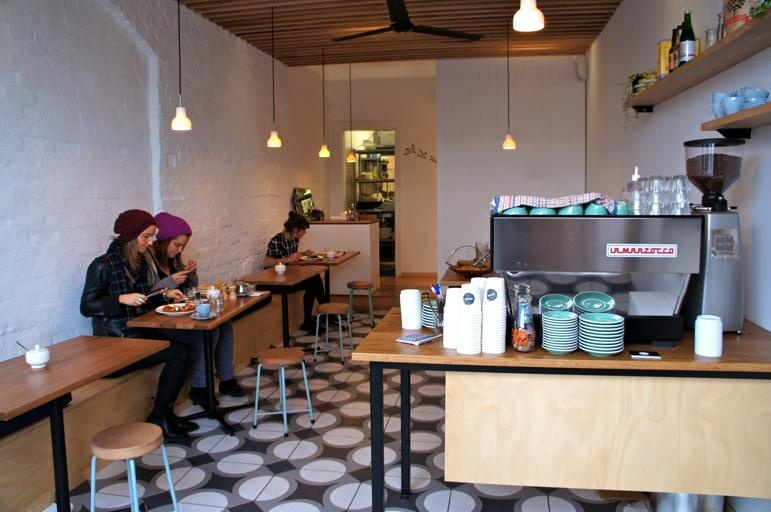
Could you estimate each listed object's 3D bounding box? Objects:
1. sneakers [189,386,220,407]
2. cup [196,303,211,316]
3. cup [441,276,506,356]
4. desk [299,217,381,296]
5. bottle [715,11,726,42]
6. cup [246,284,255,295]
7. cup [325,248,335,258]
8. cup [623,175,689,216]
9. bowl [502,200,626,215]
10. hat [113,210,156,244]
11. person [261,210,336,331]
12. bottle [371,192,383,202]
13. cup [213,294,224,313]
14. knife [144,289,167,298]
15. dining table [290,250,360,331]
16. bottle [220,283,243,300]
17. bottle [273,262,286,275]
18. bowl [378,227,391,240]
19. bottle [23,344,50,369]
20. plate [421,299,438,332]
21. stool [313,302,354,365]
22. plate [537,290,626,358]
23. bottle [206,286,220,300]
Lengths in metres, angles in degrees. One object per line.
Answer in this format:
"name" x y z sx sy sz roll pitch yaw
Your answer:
"sneakers" -1.634 1.233 4.764 0.356 0.164 0.118 1 0 19
"cup" -1.391 0.409 4.134 0.101 0.075 0.093 3 -6 0
"cup" 0.442 0.333 2.988 0.450 0.413 0.320 0 4 3
"desk" -0.587 -0.009 8.656 1.320 1.148 1.183 1 9 9
"bottle" 2.130 -1.484 3.452 0.045 0.231 0.438 2 8 31
"cup" -1.225 0.299 4.926 0.078 0.051 0.074 0 3 0
"cup" -0.740 -0.029 7.253 0.095 0.104 0.121 0 -3 -3
"cup" 1.589 -0.328 3.167 0.274 0.183 0.276 -1 2 0
"bowl" 0.979 -0.272 3.082 0.637 0.080 0.126 -1 7 10
"hat" -2.020 -0.236 4.374 0.317 0.227 0.231 -3 10 -14
"person" -1.161 0.129 7.176 0.913 1.426 0.641 11 23 9
"bottle" -0.182 -1.233 11.129 0.216 0.142 0.154 -3 4 -8
"cup" -1.342 0.388 4.358 0.123 0.146 0.118 1 2 0
"knife" -1.912 0.301 4.491 0.083 0.059 0.304 -2 -5 10
"dining table" -0.905 0.327 7.312 0.945 0.849 1.307 2 7 8
"bottle" -1.359 0.310 4.785 0.192 0.087 0.117 0 3 -7
"bottle" -1.199 0.140 6.184 0.133 0.105 0.133 2 4 0
"bowl" -0.006 -0.452 10.946 0.263 0.211 0.201 0 4 3
"bottle" -2.133 0.607 3.355 0.152 0.138 0.146 0 4 -4
"plate" 0.268 0.361 3.311 0.137 0.119 0.145 0 0 2
"stool" -0.614 0.919 6.345 0.559 0.767 0.551 2 11 5
"plate" 1.073 0.382 2.997 0.411 0.162 0.305 0 9 11
"bottle" -1.403 0.298 4.448 0.107 0.110 0.104 8 -8 -33
